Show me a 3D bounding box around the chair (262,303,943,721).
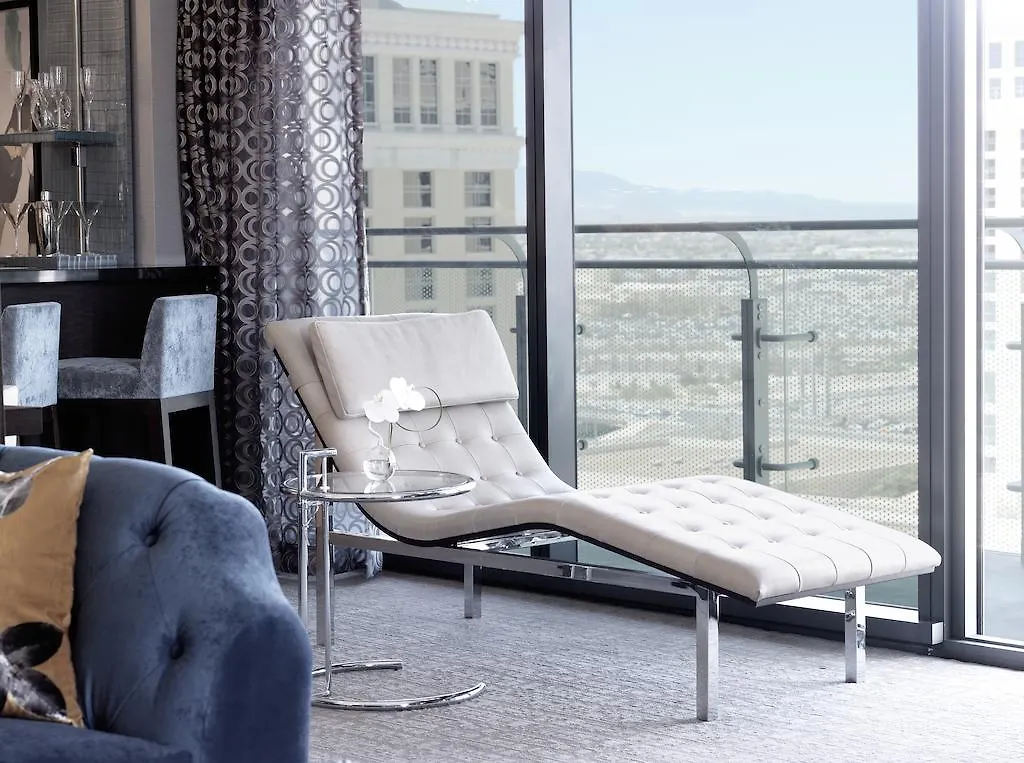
[{"bbox_3d":[0.226,0.264,3.703,2.432,1.080,1.170,4,6,37],"label":"chair"}]
